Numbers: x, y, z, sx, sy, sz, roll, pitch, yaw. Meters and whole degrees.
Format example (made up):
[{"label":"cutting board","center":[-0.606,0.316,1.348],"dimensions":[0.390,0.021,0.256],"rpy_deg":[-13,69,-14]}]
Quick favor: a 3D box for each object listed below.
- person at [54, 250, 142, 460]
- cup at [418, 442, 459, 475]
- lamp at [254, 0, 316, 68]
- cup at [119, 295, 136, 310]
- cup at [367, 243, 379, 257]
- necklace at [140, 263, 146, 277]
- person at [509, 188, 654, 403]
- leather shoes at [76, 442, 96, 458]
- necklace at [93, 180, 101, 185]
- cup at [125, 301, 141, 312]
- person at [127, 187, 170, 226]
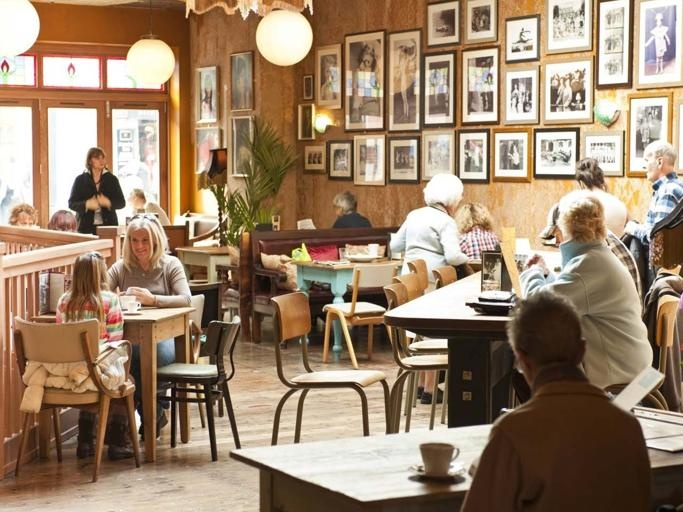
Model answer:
[{"label":"person","center":[-1.748,0.733,4.738],"dimensions":[0.469,1.023,0.564],"rpy_deg":[-2,1,-20]},{"label":"cup","center":[0.315,0.631,2.139],"dimensions":[0.095,0.093,0.181],"rpy_deg":[-1,1,17]},{"label":"lamp","center":[-0.581,-2.114,6.441],"dimensions":[0.401,0.459,0.495],"rpy_deg":[-1,1,27]},{"label":"cup","center":[-1.584,0.344,4.948],"dimensions":[0.112,0.085,0.085],"rpy_deg":[4,-6,-32]},{"label":"cup","center":[0.374,-0.071,8.405],"dimensions":[0.147,0.126,0.128],"rpy_deg":[-3,0,40]},{"label":"necklace","center":[-1.617,0.118,5.463],"dimensions":[0.054,0.080,0.030],"rpy_deg":[-17,2,32]},{"label":"person","center":[1.501,0.356,4.131],"dimensions":[0.619,1.444,0.826],"rpy_deg":[-13,12,-40]},{"label":"leather shoes","center":[-1.864,1.409,4.905],"dimensions":[0.074,0.082,0.179],"rpy_deg":[1,3,7]},{"label":"necklace","center":[-3.692,-1.092,10.052],"dimensions":[0.076,0.076,0.018],"rpy_deg":[0,-3,-21]},{"label":"cup","center":[-1.561,0.374,4.985],"dimensions":[0.067,0.058,0.083],"rpy_deg":[-2,-1,-6]},{"label":"person","center":[-3.259,-0.847,11.190],"dimensions":[0.491,0.386,1.278],"rpy_deg":[-1,-4,-3]}]
